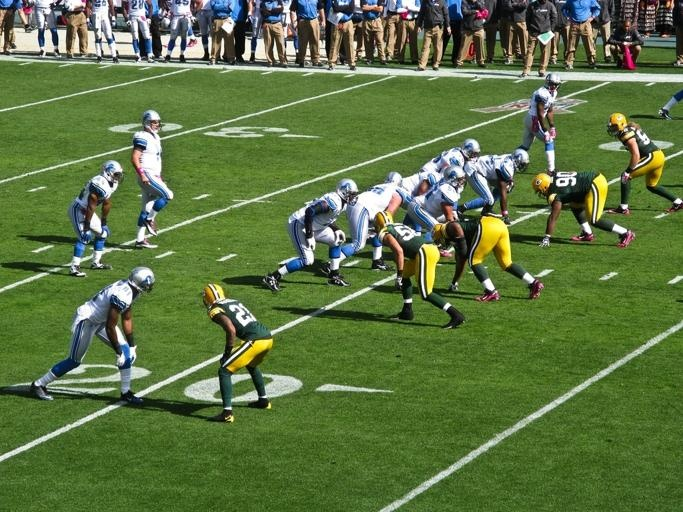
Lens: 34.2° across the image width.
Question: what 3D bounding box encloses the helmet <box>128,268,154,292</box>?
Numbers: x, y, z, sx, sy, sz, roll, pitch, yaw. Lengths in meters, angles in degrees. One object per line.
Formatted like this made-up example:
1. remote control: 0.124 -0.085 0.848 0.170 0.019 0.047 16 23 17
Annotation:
1. helmet: -2.078 0.232 11.601 0.306 0.236 0.208 12 31 -6

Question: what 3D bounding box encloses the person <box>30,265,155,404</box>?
1. person: -2.573 0.853 11.652 1.187 1.459 0.406 1 5 13

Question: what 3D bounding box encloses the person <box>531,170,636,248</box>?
1. person: 3.626 -0.649 16.588 1.569 1.086 0.946 3 19 24

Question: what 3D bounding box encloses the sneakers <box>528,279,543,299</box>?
1. sneakers: 2.575 0.458 14.722 0.130 0.345 0.170 -39 70 -25

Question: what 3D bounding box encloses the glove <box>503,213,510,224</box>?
1. glove: 2.634 -0.599 17.571 0.062 0.107 0.197 -30 61 -17

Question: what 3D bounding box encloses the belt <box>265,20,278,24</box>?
1. belt: -1.812 -6.159 29.091 0.274 0.076 0.130 0 5 5

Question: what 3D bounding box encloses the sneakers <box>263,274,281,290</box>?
1. sneakers: -0.903 0.345 15.019 0.348 0.148 0.126 22 29 39

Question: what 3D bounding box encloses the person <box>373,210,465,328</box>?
1. person: 0.932 0.176 14.090 0.688 1.395 1.258 -2 5 -23

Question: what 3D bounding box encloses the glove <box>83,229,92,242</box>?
1. glove: -3.552 -0.283 15.424 0.093 0.144 0.164 11 10 24

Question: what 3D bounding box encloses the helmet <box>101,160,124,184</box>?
1. helmet: -3.229 -1.185 15.566 0.330 0.294 0.255 14 18 11

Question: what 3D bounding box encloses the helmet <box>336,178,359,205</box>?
1. helmet: 0.130 -0.897 14.924 0.340 0.300 0.251 7 31 -20

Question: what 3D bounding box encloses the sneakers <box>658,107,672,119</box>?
1. sneakers: 7.058 -3.099 24.161 0.390 0.158 0.127 28 17 -18

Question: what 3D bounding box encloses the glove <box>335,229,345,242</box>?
1. glove: 0.004 -0.269 15.131 0.106 0.177 0.374 1 5 9

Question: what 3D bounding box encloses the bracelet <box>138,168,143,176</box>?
1. bracelet: -2.983 -1.247 16.483 0.109 0.072 0.104 -16 17 -25

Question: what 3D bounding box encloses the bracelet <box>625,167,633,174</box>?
1. bracelet: 4.674 -1.383 17.937 0.112 0.099 0.070 5 23 9

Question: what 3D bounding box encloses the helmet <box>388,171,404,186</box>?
1. helmet: 0.775 -1.116 15.875 0.219 0.200 0.174 0 -13 32

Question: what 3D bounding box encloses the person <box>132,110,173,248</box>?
1. person: -2.879 -1.173 16.880 0.563 2.070 0.880 -1 5 -9

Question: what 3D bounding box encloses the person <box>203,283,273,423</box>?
1. person: -1.054 1.004 11.454 0.665 1.403 0.547 -2 5 -15

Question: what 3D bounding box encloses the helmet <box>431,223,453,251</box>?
1. helmet: 1.342 -0.283 14.569 0.333 0.297 0.263 -1 31 23

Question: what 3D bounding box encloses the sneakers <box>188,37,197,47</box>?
1. sneakers: -4.771 -6.819 35.288 0.161 0.192 0.446 4 27 11

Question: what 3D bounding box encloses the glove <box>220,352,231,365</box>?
1. glove: -1.152 1.059 11.286 0.038 0.133 0.097 37 2 -33

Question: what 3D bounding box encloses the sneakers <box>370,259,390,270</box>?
1. sneakers: 0.554 0.130 16.011 0.312 0.170 0.103 -2 17 -13

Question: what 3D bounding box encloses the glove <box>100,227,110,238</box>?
1. glove: -3.357 -0.328 15.676 0.099 0.157 0.185 2 5 22

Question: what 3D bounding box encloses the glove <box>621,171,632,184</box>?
1. glove: 4.622 -1.270 17.953 0.149 0.164 0.062 10 46 -10

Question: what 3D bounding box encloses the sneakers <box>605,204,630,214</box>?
1. sneakers: 4.616 -0.782 18.341 0.421 0.163 0.150 7 10 26

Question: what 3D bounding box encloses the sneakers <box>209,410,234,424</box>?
1. sneakers: -1.194 1.654 11.338 0.283 0.113 0.097 4 7 8

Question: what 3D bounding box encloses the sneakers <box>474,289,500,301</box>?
1. sneakers: 1.946 0.515 14.767 0.341 0.161 0.127 -5 24 11

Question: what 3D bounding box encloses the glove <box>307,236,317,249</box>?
1. glove: -0.390 -0.169 14.933 0.125 0.158 0.063 -20 10 -20

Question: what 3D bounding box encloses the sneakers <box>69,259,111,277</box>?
1. sneakers: -3.542 0.161 15.604 0.699 0.259 0.202 -2 14 -5

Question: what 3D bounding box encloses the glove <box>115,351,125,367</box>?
1. glove: -2.298 1.079 11.535 0.149 0.169 0.050 -4 4 -1

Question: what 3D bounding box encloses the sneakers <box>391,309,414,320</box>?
1. sneakers: 0.790 0.753 14.046 0.289 0.117 0.096 8 14 35

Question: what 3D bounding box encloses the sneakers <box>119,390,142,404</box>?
1. sneakers: -2.229 1.500 11.772 0.307 0.163 0.104 2 19 -3

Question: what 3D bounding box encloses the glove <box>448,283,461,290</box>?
1. glove: 1.552 0.419 15.105 0.084 0.103 0.105 -25 25 -15

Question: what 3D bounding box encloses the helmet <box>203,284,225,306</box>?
1. helmet: -1.284 0.403 11.507 0.217 0.229 0.251 -5 14 -34
